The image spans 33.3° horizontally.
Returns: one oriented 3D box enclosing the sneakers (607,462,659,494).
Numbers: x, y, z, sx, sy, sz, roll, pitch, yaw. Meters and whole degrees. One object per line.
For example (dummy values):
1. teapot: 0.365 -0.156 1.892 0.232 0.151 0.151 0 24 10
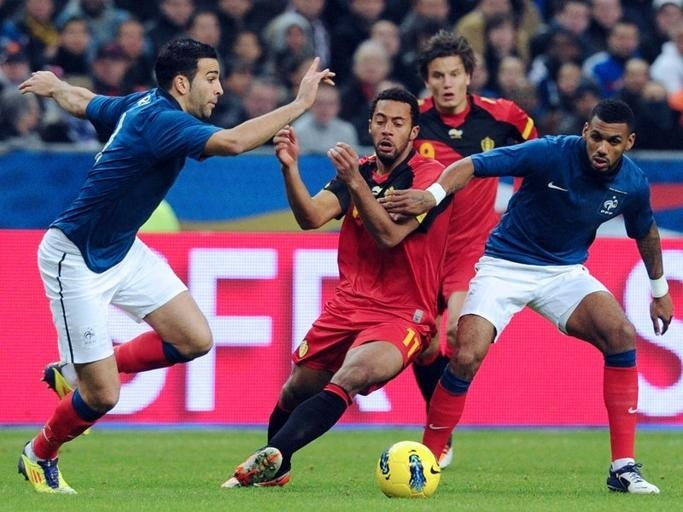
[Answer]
1. sneakers: 2.093 1.624 8.271 0.376 0.226 0.198 8 15 43
